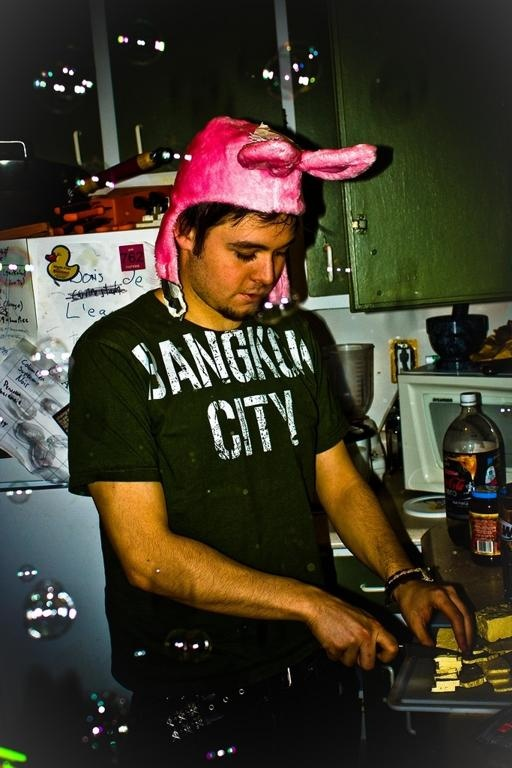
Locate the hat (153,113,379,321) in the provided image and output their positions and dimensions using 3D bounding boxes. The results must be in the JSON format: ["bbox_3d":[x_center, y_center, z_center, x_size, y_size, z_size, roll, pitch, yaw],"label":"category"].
[{"bbox_3d":[0.006,-0.318,1.108,0.278,0.342,0.374,-10,34,-29],"label":"hat"}]
